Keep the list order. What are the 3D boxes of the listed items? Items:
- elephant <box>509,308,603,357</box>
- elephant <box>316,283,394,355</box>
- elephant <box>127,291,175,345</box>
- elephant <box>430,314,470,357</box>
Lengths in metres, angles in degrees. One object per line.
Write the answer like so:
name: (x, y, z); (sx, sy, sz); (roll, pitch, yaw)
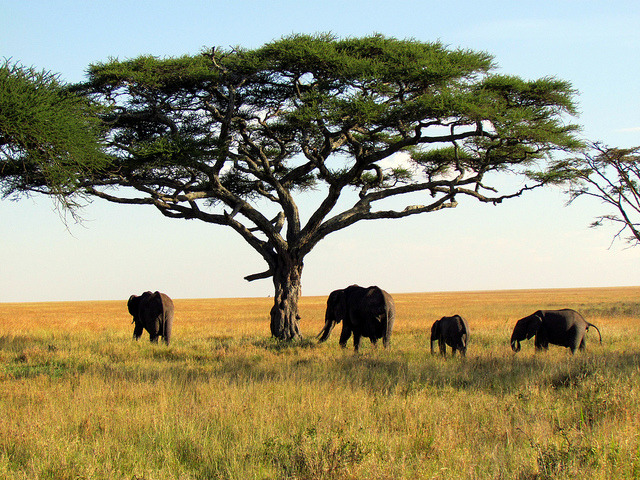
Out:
elephant: (7.212, 2.814, 23.281); (3.241, 1.858, 1.235); (2, -13, 7)
elephant: (1.113, 2.675, 24.840); (1.333, 2.191, 3.225); (4, -5, -43)
elephant: (-6.138, 2.784, 27.718); (1.393, 1.849, 3.178); (-2, 2, -28)
elephant: (3.885, 2.781, 23.400); (0.596, 0.942, 1.587); (3, 16, -34)
